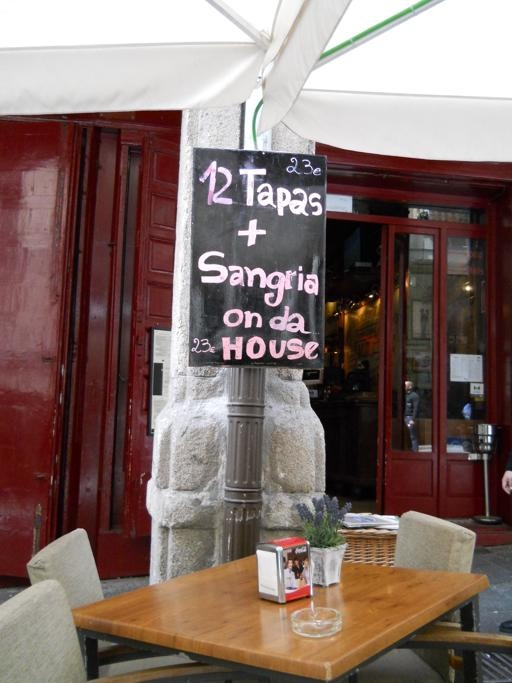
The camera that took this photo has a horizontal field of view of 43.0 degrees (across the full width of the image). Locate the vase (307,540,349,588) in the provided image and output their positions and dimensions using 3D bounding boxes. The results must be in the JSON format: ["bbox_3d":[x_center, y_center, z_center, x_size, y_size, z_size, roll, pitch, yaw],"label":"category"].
[{"bbox_3d":[0.197,0.619,1.828,0.095,0.098,0.113,-7,-10,37],"label":"vase"}]

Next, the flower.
[{"bbox_3d":[0.172,0.519,1.958,0.202,0.222,0.205,-1,-6,0],"label":"flower"}]
